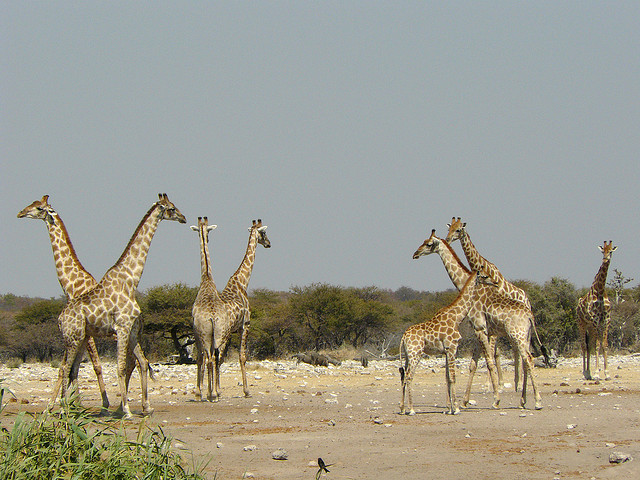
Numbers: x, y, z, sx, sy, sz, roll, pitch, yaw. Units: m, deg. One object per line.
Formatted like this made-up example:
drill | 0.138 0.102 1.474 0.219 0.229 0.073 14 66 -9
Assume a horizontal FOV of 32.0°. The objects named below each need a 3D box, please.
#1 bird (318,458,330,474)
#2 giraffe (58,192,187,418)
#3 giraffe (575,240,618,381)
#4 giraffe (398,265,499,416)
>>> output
bird | 0.041 4.328 21.388 0.194 0.350 0.123 -33 21 -32
giraffe | -4.715 1.393 25.468 2.454 5.156 0.902 2 -9 -16
giraffe | 8.171 2.167 33.118 1.109 4.070 3.087 -2 -9 13
giraffe | 2.848 2.400 26.523 2.002 3.527 0.843 0 -9 -3
